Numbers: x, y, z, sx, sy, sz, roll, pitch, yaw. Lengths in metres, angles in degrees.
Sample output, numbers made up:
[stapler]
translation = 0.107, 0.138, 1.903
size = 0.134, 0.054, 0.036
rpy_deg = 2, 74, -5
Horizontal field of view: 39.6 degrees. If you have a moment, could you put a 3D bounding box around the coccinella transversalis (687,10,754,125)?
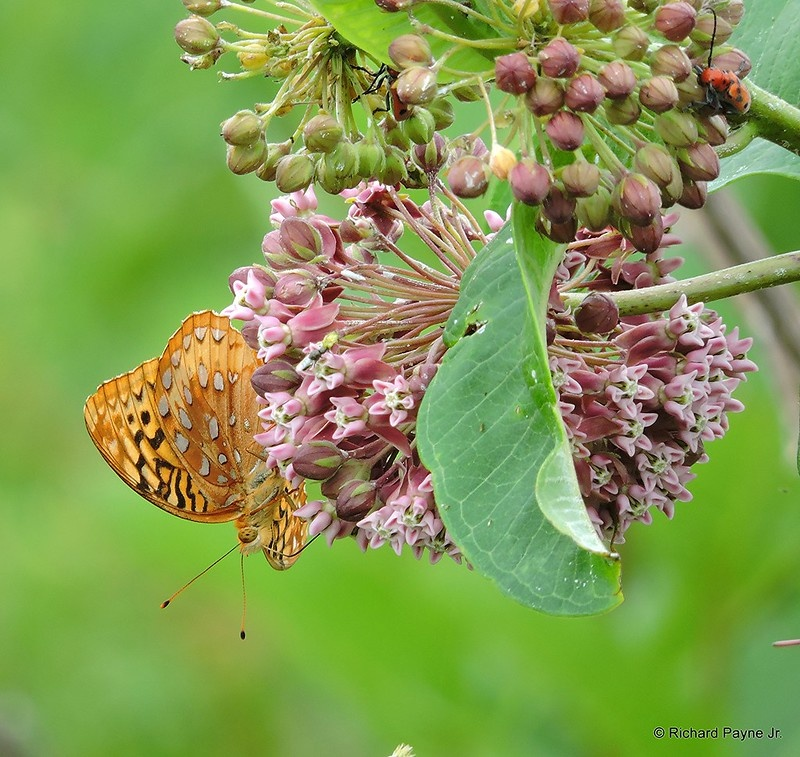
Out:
[coccinella transversalis]
translation = 0.401, -0.391, 1.405
size = 0.070, 0.116, 0.086
rpy_deg = 14, 1, 14

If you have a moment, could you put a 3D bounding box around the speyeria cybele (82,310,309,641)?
[speyeria cybele]
translation = -0.401, 0.197, 2.386
size = 0.542, 0.527, 0.280
rpy_deg = -41, 8, 36
